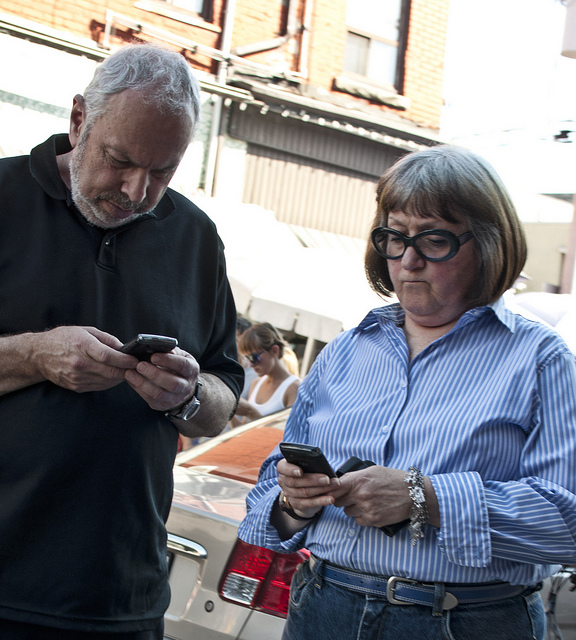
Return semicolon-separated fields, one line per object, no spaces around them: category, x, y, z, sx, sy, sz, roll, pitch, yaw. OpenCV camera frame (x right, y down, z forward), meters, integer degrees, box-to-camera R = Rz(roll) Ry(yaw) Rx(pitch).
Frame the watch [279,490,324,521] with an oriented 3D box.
watch;0.062;0.564;2.063;0.125;0.039;0.107;32;-15;-27

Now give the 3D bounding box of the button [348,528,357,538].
button;0.180;0.586;1.868;0.029;0.021;0.023;16;-5;8

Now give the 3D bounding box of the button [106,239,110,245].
button;-0.516;-0.226;1.949;0.004;0.015;0.017;16;5;1

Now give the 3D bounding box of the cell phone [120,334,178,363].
cell phone;-0.349;0.075;1.711;0.128;0.017;0.202;-13;-11;13

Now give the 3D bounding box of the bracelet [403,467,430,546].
bracelet;0.332;0.470;1.720;0.063;0.158;0.121;-5;13;9

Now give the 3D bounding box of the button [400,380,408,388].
button;0.337;0.184;1.955;0.016;0.019;0.026;12;5;-5

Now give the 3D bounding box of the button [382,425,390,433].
button;0.275;0.305;1.889;0.012;0.018;0.019;12;5;-20

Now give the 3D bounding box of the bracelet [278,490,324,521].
bracelet;0.029;0.572;2.045;0.115;0.093;0.043;-13;-2;14
